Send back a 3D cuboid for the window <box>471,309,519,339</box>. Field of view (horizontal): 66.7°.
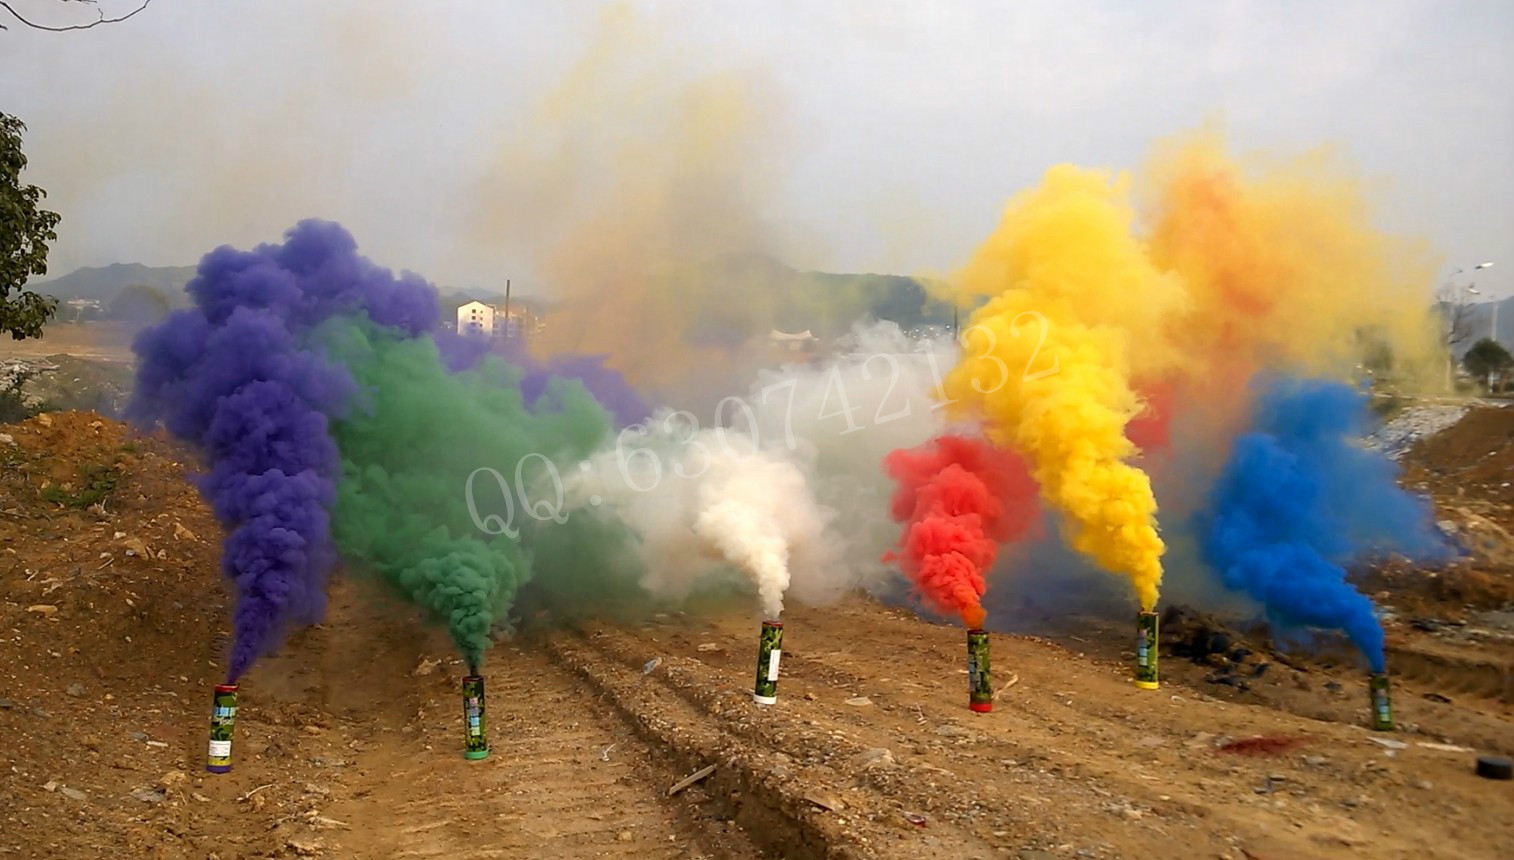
[{"bbox_3d":[-8.171,-3.490,37.323,1.356,0.638,1.932,5,5,27],"label":"window"}]
